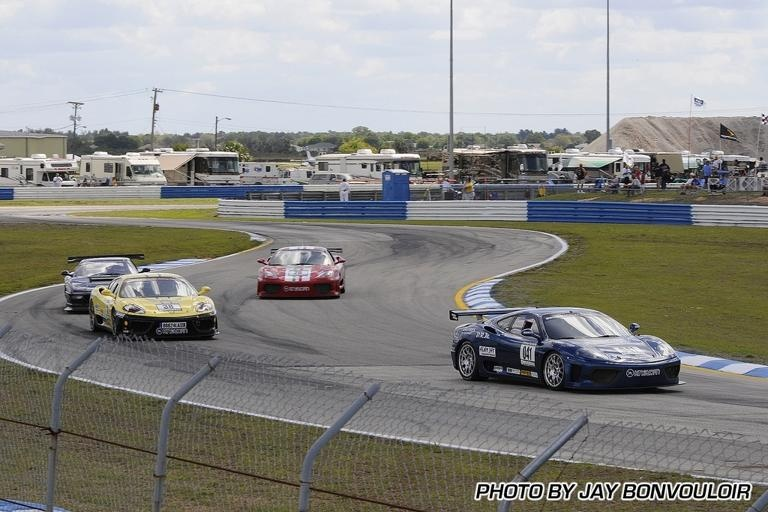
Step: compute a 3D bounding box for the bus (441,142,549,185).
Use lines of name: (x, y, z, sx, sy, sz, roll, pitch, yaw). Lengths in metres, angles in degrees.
bus: (8.706, -6.511, 64.283, 8.137, 2.250, 2.776, 1, 5, 30)

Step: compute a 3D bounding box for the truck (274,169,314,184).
truck: (-7.360, -6.472, 74.071, 3.008, 0.926, 1.568, -1, 7, -2)

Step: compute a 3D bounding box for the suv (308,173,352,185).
suv: (-4.153, -5.873, 68.378, 3.443, 0.823, 1.262, 0, 7, 20)

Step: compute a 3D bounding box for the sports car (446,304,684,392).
sports car: (2.949, 1.569, 14.943, 3.241, 1.220, 1.438, 5, 8, 43)

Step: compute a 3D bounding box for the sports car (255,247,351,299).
sports car: (-2.161, 0.409, 23.815, 2.234, 1.205, 1.622, 0, 6, -4)
